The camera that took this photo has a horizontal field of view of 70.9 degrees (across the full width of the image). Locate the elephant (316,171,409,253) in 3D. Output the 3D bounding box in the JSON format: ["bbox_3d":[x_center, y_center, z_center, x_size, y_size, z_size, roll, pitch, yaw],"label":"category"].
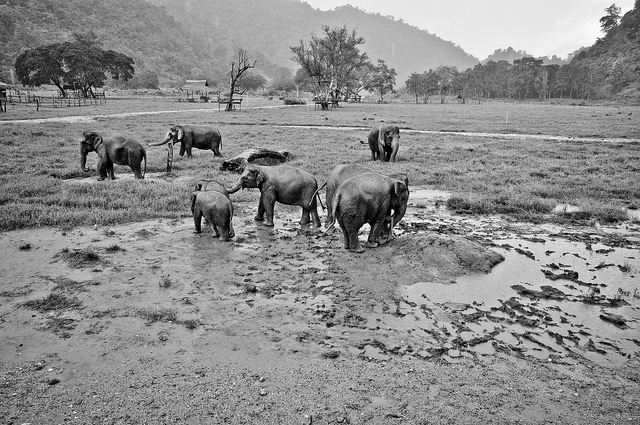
[{"bbox_3d":[1.062,-0.055,10.000,2.320,1.692,1.160,-8,12,-34],"label":"elephant"}]

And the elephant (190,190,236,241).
[{"bbox_3d":[-2.676,0.016,10.812,1.817,1.097,0.621,14,21,36],"label":"elephant"}]

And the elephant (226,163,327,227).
[{"bbox_3d":[-1.138,-0.441,11.523,2.585,1.677,0.907,3,23,-3],"label":"elephant"}]

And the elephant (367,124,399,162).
[{"bbox_3d":[2.727,-2.964,19.505,0.869,1.686,2.542,-8,14,-19],"label":"elephant"}]

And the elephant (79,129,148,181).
[{"bbox_3d":[-6.955,-1.869,15.195,2.180,1.656,0.887,5,14,3],"label":"elephant"}]

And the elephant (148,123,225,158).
[{"bbox_3d":[-5.884,-3.101,19.745,3.174,1.639,1.033,-3,27,-20],"label":"elephant"}]
